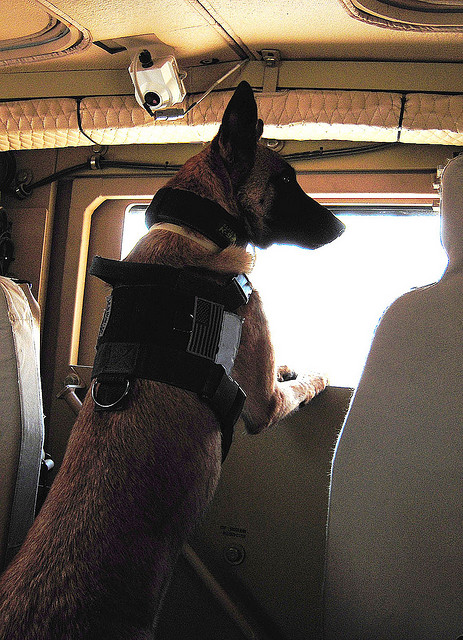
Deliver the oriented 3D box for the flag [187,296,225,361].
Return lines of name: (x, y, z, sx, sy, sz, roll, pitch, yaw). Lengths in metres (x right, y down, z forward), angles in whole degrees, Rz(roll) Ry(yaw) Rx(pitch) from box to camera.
flag: (-0.051, 0.018, 1.298, 0.089, 0.140, 0.030, 4, -7, 20)

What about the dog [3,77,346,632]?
dog: (-0.149, 0.086, 1.356, 0.432, 1.327, 0.809, 12, -2, 24)

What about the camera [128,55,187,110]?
camera: (-0.258, -0.864, 2.012, 0.199, 0.094, 0.201, -6, -48, 20)

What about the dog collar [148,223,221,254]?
dog collar: (-0.116, -0.213, 1.435, 0.125, 0.031, 0.109, 28, 8, -28)

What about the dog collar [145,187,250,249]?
dog collar: (-0.082, -0.284, 1.461, 0.181, 0.088, 0.217, 18, -8, 44)
